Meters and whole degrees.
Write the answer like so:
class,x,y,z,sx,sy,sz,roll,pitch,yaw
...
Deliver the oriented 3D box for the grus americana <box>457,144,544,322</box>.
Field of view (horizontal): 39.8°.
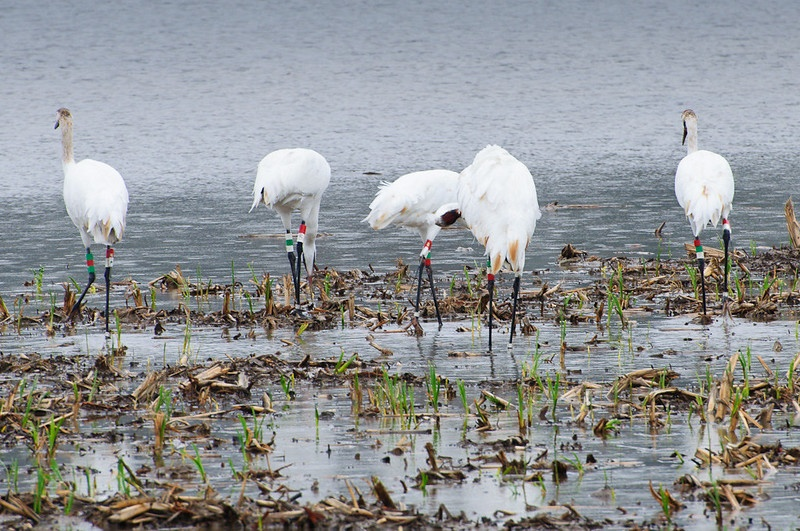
class,x,y,z,sx,sy,sz,roll,pitch,yaw
grus americana,1.285,-0.415,14.225,0.747,2.217,1.047,-8,10,-26
